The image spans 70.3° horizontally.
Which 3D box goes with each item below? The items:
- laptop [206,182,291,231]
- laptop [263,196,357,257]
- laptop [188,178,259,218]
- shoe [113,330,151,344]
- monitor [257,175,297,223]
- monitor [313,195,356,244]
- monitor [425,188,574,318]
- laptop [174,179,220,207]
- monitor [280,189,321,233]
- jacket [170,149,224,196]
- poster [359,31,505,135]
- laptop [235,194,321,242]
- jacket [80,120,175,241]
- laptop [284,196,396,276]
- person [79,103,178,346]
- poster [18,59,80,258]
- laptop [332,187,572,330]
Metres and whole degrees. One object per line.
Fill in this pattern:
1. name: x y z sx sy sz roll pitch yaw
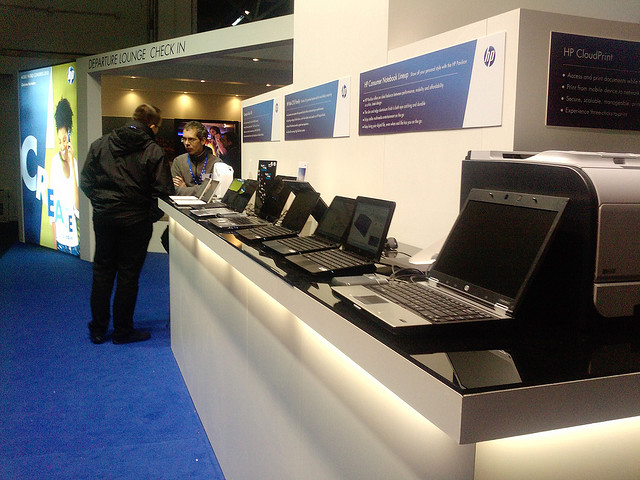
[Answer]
1. laptop: -0.361 -0.161 2.507 0.322 0.199 0.320 -3 10 -23
2. laptop: -0.033 -0.093 1.723 0.302 0.186 0.214 -10 14 -25
3. laptop: -0.656 -0.313 3.079 0.421 0.228 0.513 9 11 14
4. shoe: -1.577 0.819 3.830 0.287 0.122 0.103 -5 12 -27
5. monitor: -0.261 -0.234 2.616 0.192 0.234 0.271 -6 26 -44
6. monitor: 0.067 -0.079 1.796 0.144 0.165 0.217 3 14 -34
7. monitor: 0.424 0.013 1.127 0.148 0.243 0.317 -1 9 -22
8. laptop: -0.964 -0.380 3.605 0.139 0.242 0.240 27 -10 -27
9. monitor: -0.091 -0.136 2.147 0.078 0.184 0.244 33 -5 -22
10. jacket: -1.168 -0.628 4.335 0.524 0.575 0.320 2 0 21
11. poster: 0.480 -0.643 1.976 0.859 0.319 0.014 -20 29 -27
12. laptop: -0.194 -0.082 2.087 0.269 0.177 0.271 -2 6 -26
13. jacket: -1.555 -0.456 3.617 0.734 0.921 0.267 2 9 8
14. laptop: 0.050 -0.054 1.547 0.386 0.235 0.366 4 13 -29
15. person: -1.591 -0.035 3.703 0.803 1.808 0.304 2 9 10
16. poster: -4.264 -1.284 7.221 0.037 4.042 2.738 -5 9 -44
17. laptop: 0.305 0.024 1.085 0.456 0.265 0.339 -4 11 -25
